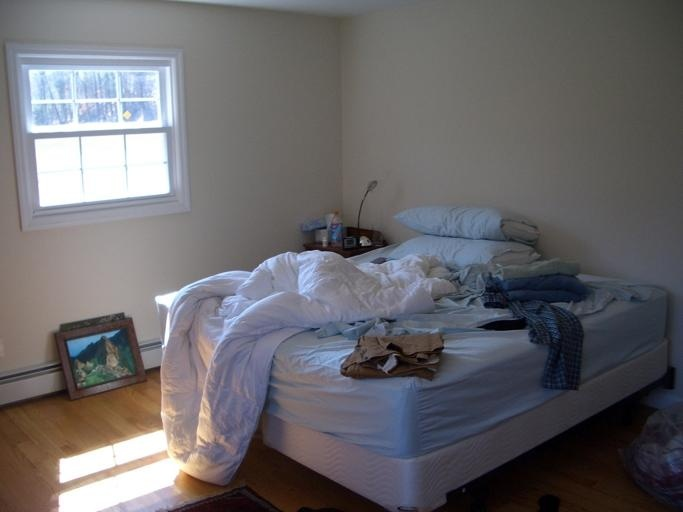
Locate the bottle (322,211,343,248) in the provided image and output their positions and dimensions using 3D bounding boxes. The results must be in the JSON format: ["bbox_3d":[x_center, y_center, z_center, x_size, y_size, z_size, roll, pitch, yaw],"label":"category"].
[{"bbox_3d":[-0.091,-0.237,4.619,0.179,0.274,0.211,-4,14,6],"label":"bottle"}]

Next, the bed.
[{"bbox_3d":[0.687,0.636,2.597,1.487,0.350,1.524,-14,17,-40],"label":"bed"}]

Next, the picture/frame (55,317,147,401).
[{"bbox_3d":[-1.747,0.749,3.716,0.534,0.496,0.044,-11,-2,-37],"label":"picture/frame"}]

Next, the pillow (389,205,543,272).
[{"bbox_3d":[0.878,-0.132,3.590,0.638,0.295,0.631,-15,15,-42],"label":"pillow"}]
